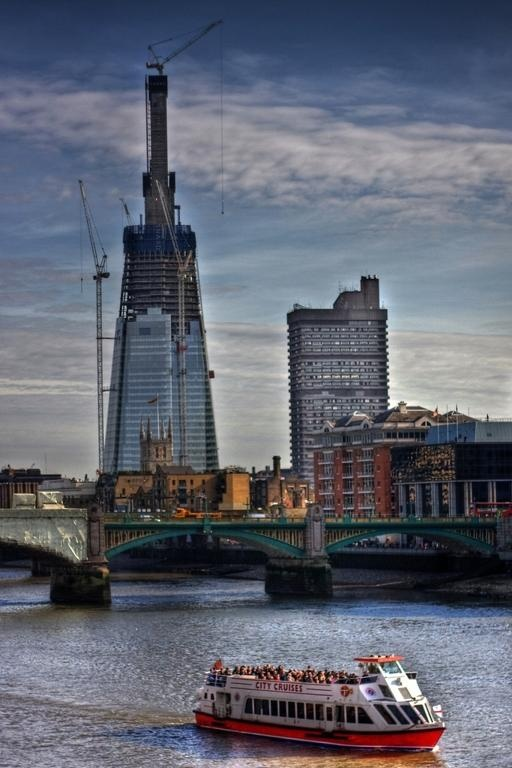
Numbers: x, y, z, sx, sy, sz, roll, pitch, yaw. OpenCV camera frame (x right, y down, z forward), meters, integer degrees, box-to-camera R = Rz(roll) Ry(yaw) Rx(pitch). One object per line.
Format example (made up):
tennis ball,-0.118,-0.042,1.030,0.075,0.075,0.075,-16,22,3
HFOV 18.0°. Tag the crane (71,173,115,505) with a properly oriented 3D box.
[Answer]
crane,-26.521,6.631,278.754,4.051,71.932,9.389,-4,-2,-21

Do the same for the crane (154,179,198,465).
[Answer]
crane,-19.641,-18.136,404.907,9.809,81.962,72.049,-1,-5,-3

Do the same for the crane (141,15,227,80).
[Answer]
crane,-6.229,-27.728,136.301,6.278,4.528,0.875,-8,-2,14
